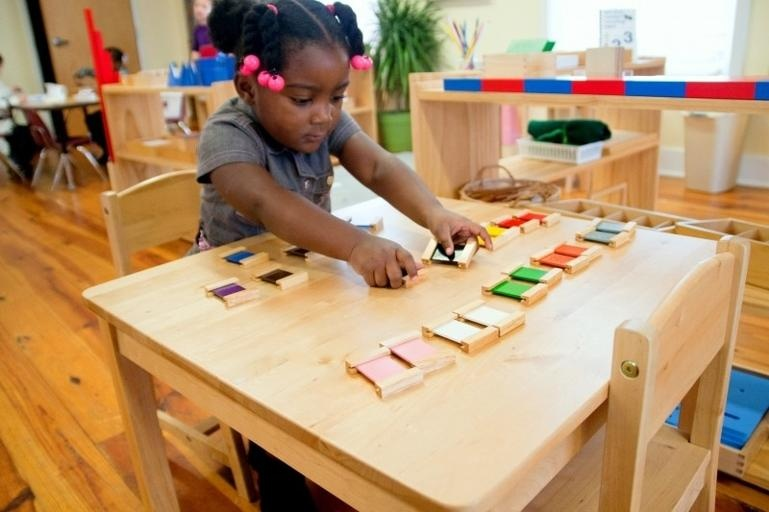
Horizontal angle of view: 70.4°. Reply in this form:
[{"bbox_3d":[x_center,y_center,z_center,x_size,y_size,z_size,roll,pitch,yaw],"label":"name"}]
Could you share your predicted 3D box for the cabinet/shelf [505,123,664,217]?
[{"bbox_3d":[0.993,-0.303,2.735,0.487,0.605,0.675,16,30,36],"label":"cabinet/shelf"}]
